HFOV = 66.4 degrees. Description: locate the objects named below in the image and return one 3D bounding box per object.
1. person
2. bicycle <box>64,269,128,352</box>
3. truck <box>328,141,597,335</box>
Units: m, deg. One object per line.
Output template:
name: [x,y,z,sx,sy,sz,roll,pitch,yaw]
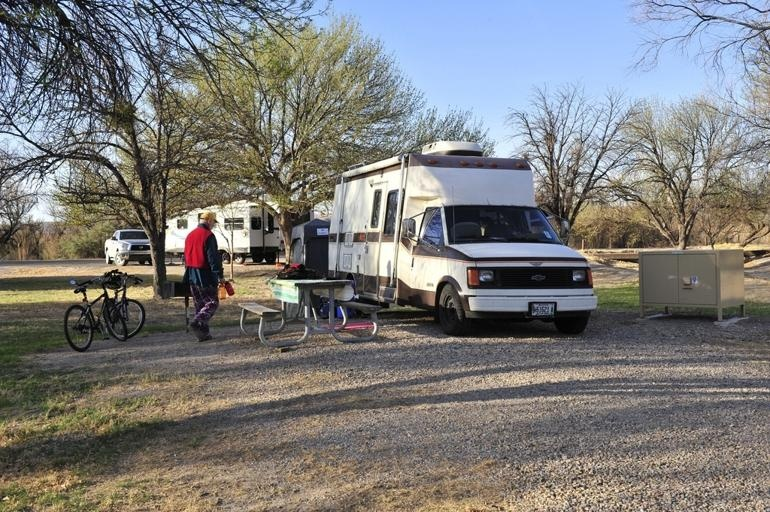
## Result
person: [-3.486,0.420,11.248,0.707,2.494,0.699,-3,5,-18]
bicycle: [-5.991,1.107,11.702,0.912,1.113,1.849,-8,6,15]
truck: [1.435,-0.402,13.038,2.315,3.677,5.938,-5,6,-37]
